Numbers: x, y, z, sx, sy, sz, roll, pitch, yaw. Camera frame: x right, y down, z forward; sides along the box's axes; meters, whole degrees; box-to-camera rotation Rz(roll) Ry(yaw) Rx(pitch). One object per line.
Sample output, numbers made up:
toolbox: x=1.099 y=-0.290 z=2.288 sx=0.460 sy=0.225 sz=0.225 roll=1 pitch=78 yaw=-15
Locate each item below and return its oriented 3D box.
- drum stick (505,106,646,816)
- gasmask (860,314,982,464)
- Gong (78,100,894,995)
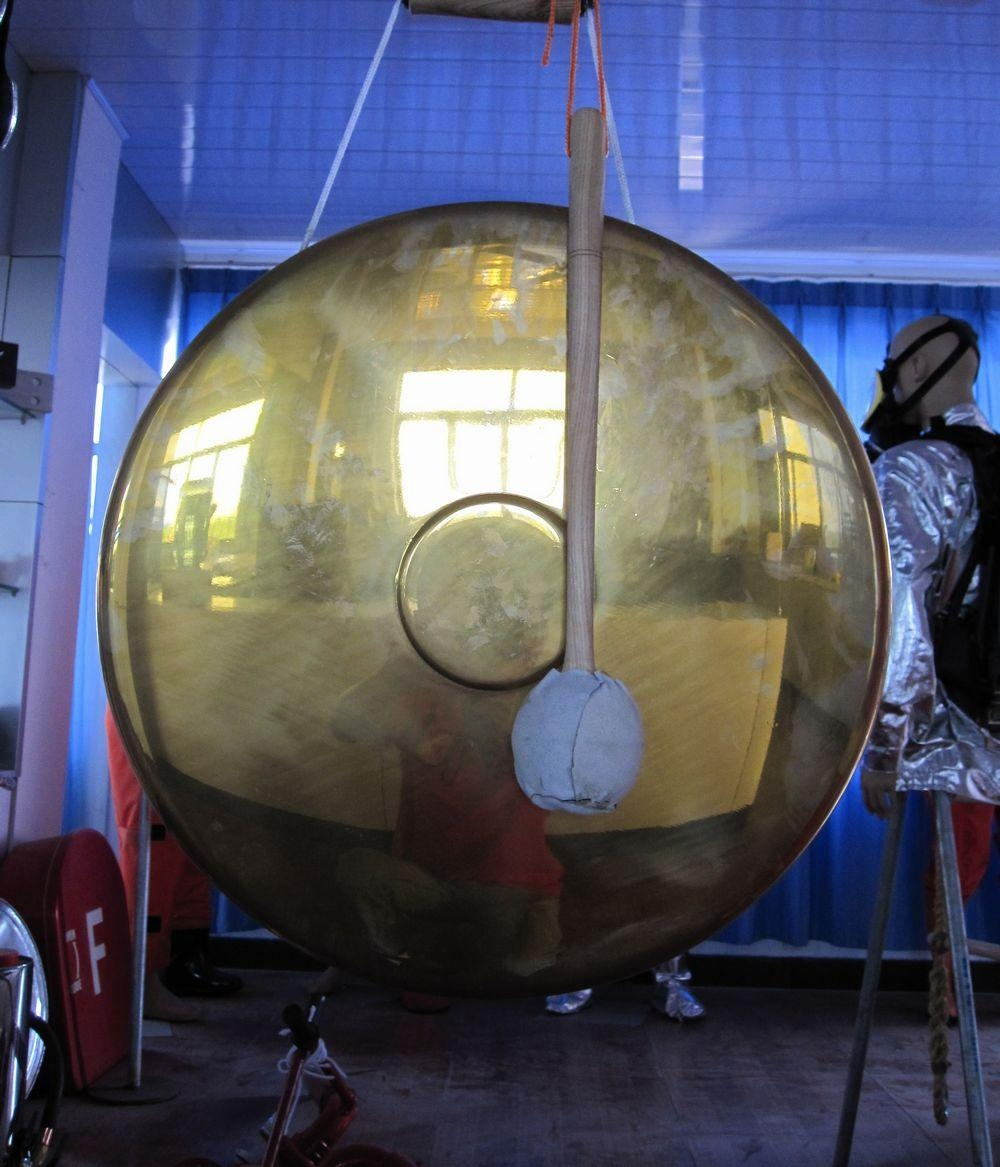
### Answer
drum stick: x=0.030 y=-0.044 z=0.373 sx=0.038 sy=0.235 sz=0.057 roll=0 pitch=-6 yaw=15
gasmask: x=0.742 y=-0.306 z=1.993 sx=0.155 sy=0.317 sz=0.209 roll=21 pitch=-27 yaw=-26
Gong: x=-0.003 y=0.002 z=0.398 sx=0.268 sy=0.273 sz=0.057 roll=2 pitch=-6 yaw=-2
